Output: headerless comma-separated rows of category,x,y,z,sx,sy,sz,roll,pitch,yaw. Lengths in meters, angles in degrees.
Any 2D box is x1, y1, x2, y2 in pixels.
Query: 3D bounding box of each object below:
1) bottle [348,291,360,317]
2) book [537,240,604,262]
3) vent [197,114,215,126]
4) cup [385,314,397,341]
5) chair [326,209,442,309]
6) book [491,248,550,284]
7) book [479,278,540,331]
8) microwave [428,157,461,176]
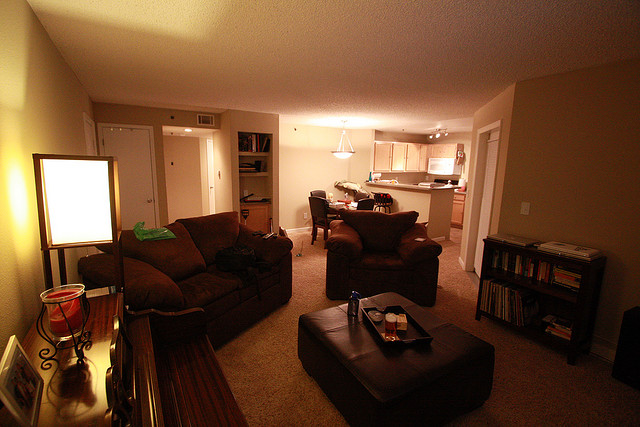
bottle,0.301,0.840,3.959,0.090,0.228,0.059,-1,8,3
book,2.469,0.370,4.237,0.532,0.133,0.285,4,8,39
vent,-1.881,-1.532,6.983,0.016,0.140,0.242,12,14,40
cup,0.598,0.965,3.632,0.097,0.202,0.118,-1,8,8
chair,0.725,0.484,5.418,1.370,0.879,0.944,4,19,1
book,2.110,0.558,4.514,0.402,0.343,0.093,10,0,37
book,2.048,0.886,4.632,0.520,0.448,0.503,15,20,32
microwave,2.964,-1.119,10.115,0.437,0.467,0.767,-1,8,-19
